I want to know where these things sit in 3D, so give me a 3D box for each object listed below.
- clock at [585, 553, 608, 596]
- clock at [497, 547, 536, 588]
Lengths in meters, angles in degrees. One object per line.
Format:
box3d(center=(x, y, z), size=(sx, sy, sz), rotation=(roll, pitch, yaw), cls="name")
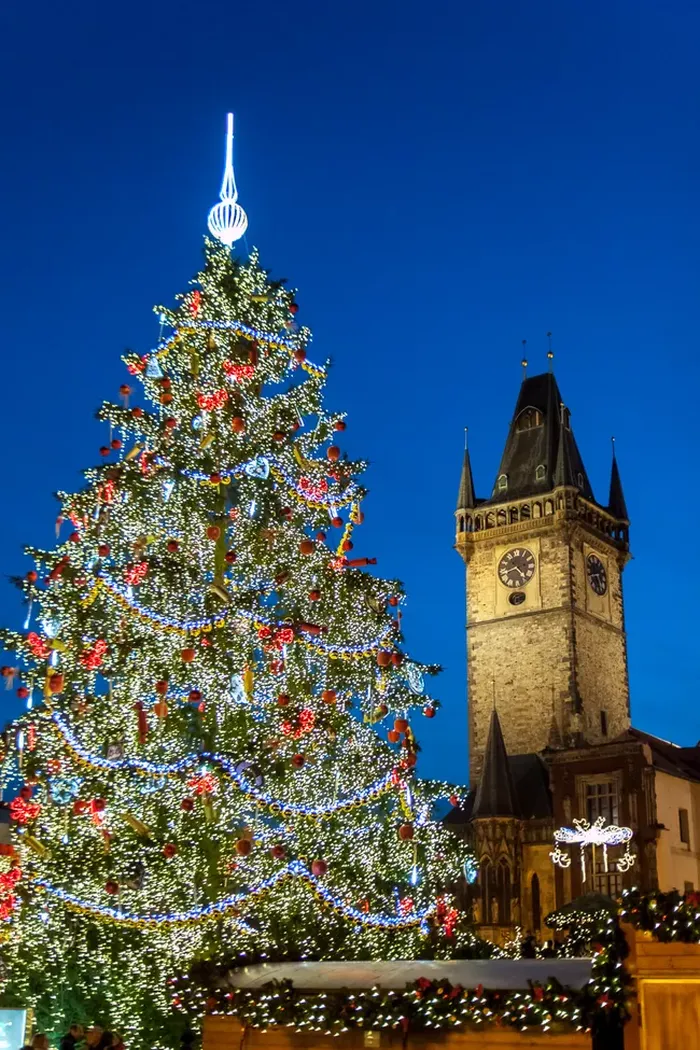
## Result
box3d(center=(9.368, 1.978, 56.932), size=(0.189, 1.444, 1.542), rotation=(-16, -16, 24), cls="clock")
box3d(center=(6.321, 1.693, 56.222), size=(0.110, 1.351, 1.390), rotation=(32, -1, -34), cls="clock")
